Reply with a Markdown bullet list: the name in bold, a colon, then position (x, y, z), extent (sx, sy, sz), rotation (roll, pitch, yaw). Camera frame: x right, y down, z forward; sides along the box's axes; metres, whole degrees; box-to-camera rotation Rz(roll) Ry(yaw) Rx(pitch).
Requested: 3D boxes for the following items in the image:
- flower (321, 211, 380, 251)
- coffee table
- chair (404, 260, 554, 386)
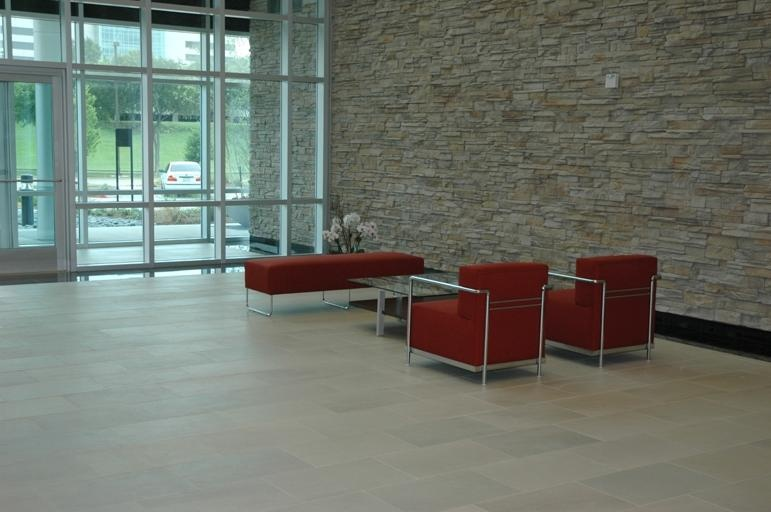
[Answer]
- **flower**: position (-0.728, -0.292, 11.278), extent (0.963, 0.629, 0.910), rotation (-5, -13, 9)
- **coffee table**: position (0.359, 0.439, 6.972), extent (1.458, 0.452, 1.295), rotation (-1, 4, -35)
- **chair**: position (0.629, 0.697, 5.995), extent (1.681, 1.088, 1.280), rotation (0, -3, 35)
